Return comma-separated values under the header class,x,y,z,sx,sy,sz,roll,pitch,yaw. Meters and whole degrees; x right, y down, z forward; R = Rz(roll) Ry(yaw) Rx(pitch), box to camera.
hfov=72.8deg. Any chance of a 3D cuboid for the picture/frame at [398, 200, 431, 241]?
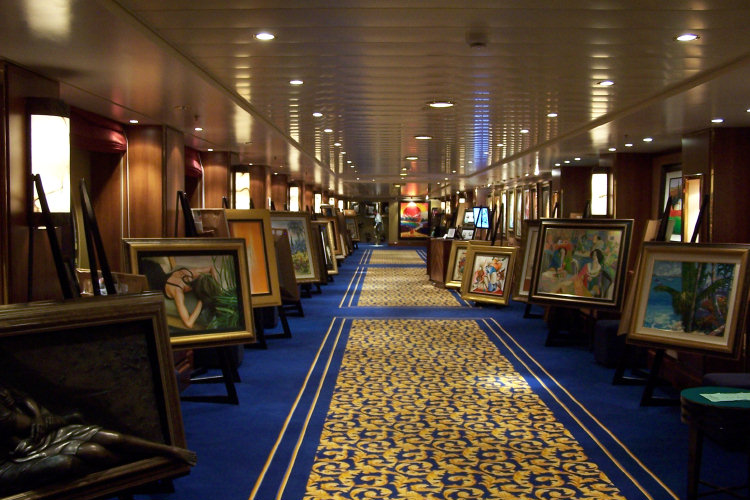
class,x,y,z,sx,sy,sz,roll,pitch,yaw
picture/frame,2.844,-2.200,37.715,2.089,2.756,1.053,-1,4,2
